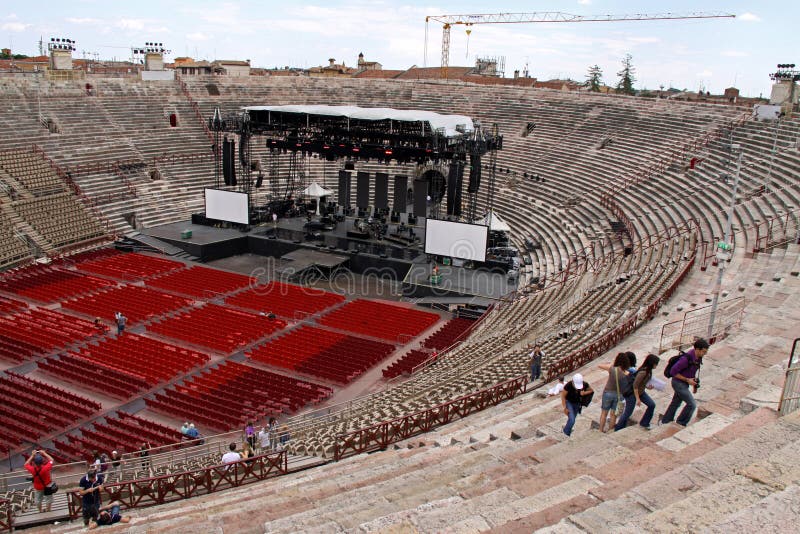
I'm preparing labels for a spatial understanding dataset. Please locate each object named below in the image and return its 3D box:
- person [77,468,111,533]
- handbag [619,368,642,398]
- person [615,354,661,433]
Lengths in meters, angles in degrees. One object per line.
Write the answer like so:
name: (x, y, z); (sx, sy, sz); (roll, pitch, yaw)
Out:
person: (-6.421, 4.749, 16.397); (0.476, 0.928, 1.113); (-10, 22, -22)
handbag: (4.832, 2.430, 16.334); (0.441, 0.528, 0.565); (23, 2, 29)
person: (4.936, 2.674, 16.418); (0.858, 1.888, 0.731); (15, 40, 26)
